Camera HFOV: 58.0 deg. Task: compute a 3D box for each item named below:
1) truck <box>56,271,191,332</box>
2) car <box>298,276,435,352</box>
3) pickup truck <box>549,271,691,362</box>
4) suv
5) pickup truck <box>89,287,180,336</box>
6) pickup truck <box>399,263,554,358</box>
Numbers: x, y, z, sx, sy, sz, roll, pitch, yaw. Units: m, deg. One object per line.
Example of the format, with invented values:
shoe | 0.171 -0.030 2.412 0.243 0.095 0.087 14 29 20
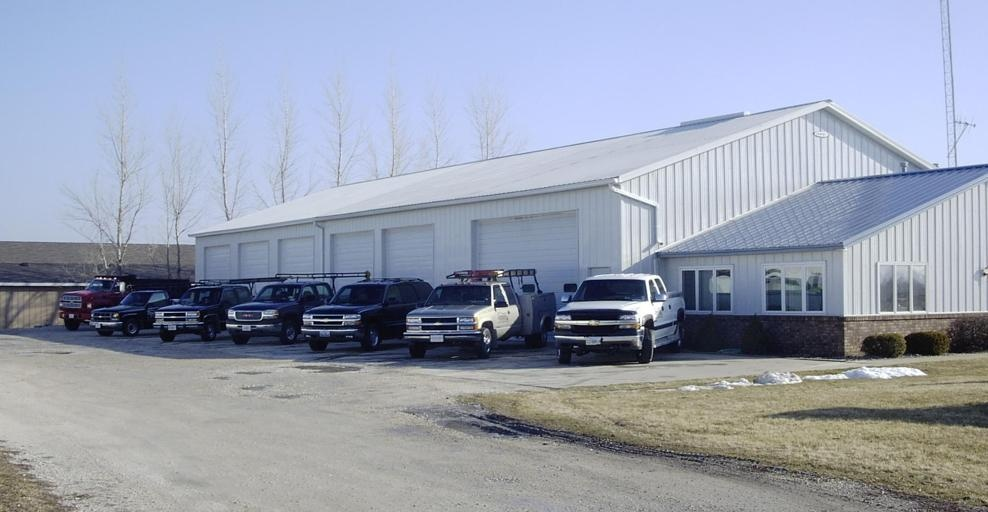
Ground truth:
truck | -19.939 2.315 48.288 3.180 2.023 5.867 4 3 39
car | -5.064 2.238 37.334 3.649 2.342 6.148 4 6 26
pickup truck | 5.005 2.268 33.966 3.777 2.306 7.004 0 2 23
suv | -13.112 2.549 40.465 2.644 2.176 5.788 -1 -2 17
pickup truck | -17.482 2.823 44.103 2.377 1.491 4.219 -2 -3 31
pickup truck | -0.340 2.180 33.939 3.164 2.799 9.229 -1 -2 30
